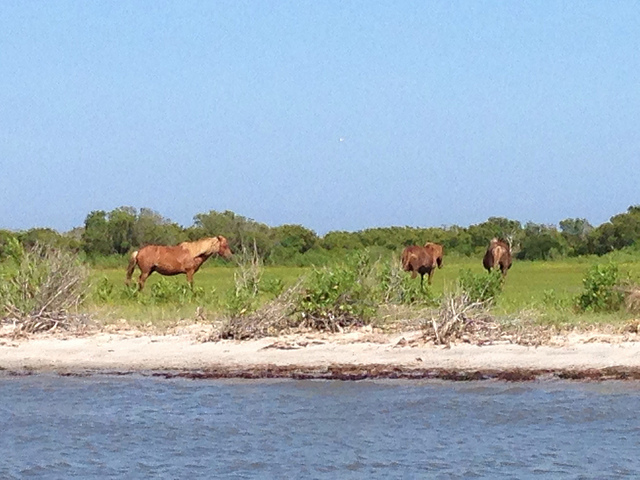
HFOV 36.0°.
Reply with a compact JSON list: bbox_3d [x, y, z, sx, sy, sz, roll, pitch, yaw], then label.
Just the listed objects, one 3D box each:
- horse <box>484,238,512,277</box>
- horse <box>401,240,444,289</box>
[{"bbox_3d":[6.943,0.700,38.703,0.981,1.631,2.547,0,-5,10],"label":"horse"},{"bbox_3d":[3.715,0.810,36.582,0.797,1.472,2.513,-2,-6,29],"label":"horse"}]
